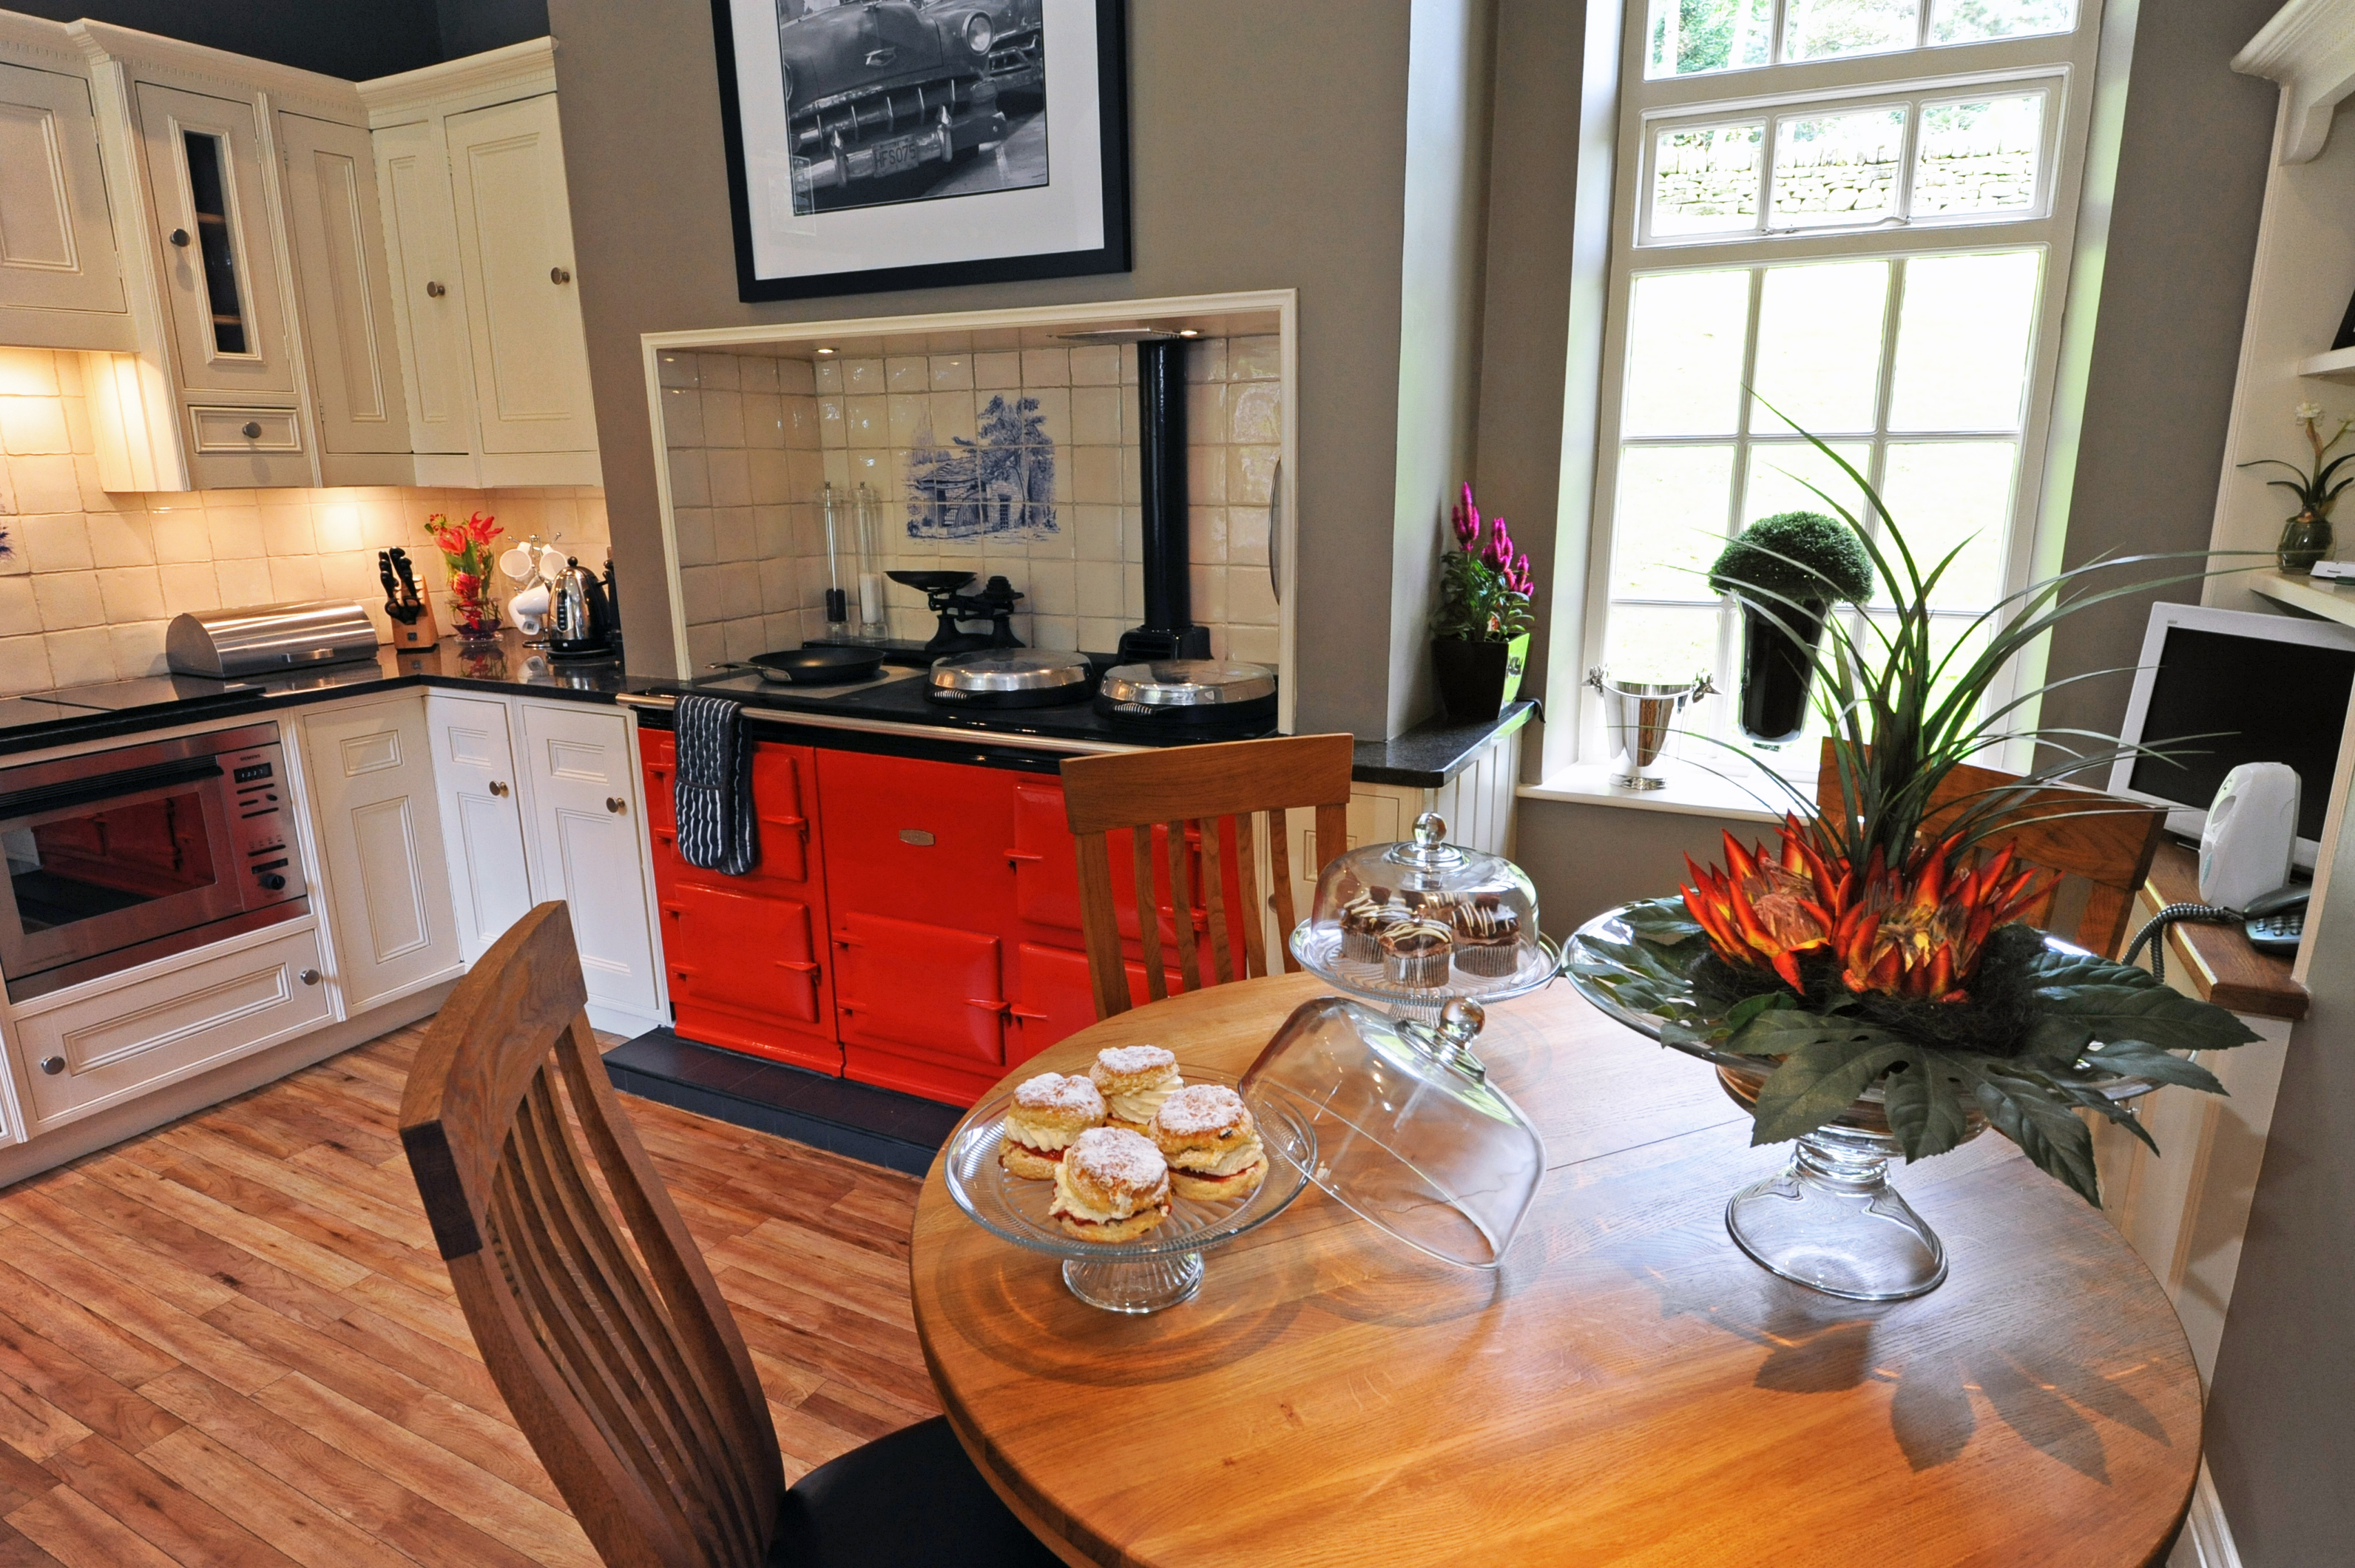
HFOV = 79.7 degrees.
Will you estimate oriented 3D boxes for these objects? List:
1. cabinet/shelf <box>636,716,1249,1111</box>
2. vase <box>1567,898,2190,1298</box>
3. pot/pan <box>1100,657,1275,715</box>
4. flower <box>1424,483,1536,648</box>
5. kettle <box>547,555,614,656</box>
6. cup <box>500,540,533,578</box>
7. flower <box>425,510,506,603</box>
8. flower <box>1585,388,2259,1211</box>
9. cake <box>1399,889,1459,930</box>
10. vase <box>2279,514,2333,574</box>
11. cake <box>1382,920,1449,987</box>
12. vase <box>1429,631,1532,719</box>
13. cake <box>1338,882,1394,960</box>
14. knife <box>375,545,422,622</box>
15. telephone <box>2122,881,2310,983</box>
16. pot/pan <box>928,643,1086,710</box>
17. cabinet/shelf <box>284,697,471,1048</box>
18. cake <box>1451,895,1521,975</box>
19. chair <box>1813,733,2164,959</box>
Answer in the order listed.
[{"bbox_3d":[-0.984,0.559,4.058,1.728,1.062,1.014,14,-28,-39],"label":"cabinet/shelf"},{"bbox_3d":[0.959,0.508,2.010,0.638,0.288,0.651,6,0,-41],"label":"vase"},{"bbox_3d":[0.030,-0.242,3.547,0.412,0.096,0.285,-7,15,-24],"label":"pot/pan"},{"bbox_3d":[0.763,-0.538,3.510,0.226,0.378,0.299,2,15,12],"label":"flower"},{"bbox_3d":[-1.943,-0.568,4.565,0.202,0.294,0.212,-8,16,-24],"label":"kettle"},{"bbox_3d":[-2.183,-0.728,4.647,0.093,0.133,0.198,-8,16,-24],"label":"cup"},{"bbox_3d":[-2.400,-0.780,4.775,0.239,0.256,0.407,-9,16,-27],"label":"flower"},{"bbox_3d":[0.955,0.039,1.860,0.842,0.846,0.773,3,8,16],"label":"flower"},{"bbox_3d":[0.390,0.195,2.159,0.054,0.025,0.073,8,7,30],"label":"cake"},{"bbox_3d":[2.381,-0.503,2.965,0.088,0.124,0.121,12,20,40],"label":"vase"},{"bbox_3d":[0.366,0.264,2.132,0.091,0.061,0.087,-5,21,-9],"label":"cake"},{"bbox_3d":[0.775,-0.276,3.540,0.204,0.198,0.293,0,8,6],"label":"vase"},{"bbox_3d":[0.302,0.220,2.229,0.103,0.092,0.098,-3,12,-13],"label":"cake"},{"bbox_3d":[-2.536,-0.644,4.579,0.155,0.234,0.087,-1,5,-5],"label":"knife"},{"bbox_3d":[1.939,0.278,2.606,0.249,0.079,0.146,-15,23,12],"label":"telephone"},{"bbox_3d":[-0.440,-0.263,3.678,0.418,0.098,0.207,-3,14,-7],"label":"pot/pan"},{"bbox_3d":[-2.285,0.233,4.436,0.484,0.987,0.542,-16,-9,18],"label":"cabinet/shelf"},{"bbox_3d":[0.473,0.234,2.142,0.116,0.122,0.111,-5,12,-10],"label":"cake"},{"bbox_3d":[1.253,0.102,2.152,0.303,0.513,0.336,17,30,40],"label":"chair"}]
